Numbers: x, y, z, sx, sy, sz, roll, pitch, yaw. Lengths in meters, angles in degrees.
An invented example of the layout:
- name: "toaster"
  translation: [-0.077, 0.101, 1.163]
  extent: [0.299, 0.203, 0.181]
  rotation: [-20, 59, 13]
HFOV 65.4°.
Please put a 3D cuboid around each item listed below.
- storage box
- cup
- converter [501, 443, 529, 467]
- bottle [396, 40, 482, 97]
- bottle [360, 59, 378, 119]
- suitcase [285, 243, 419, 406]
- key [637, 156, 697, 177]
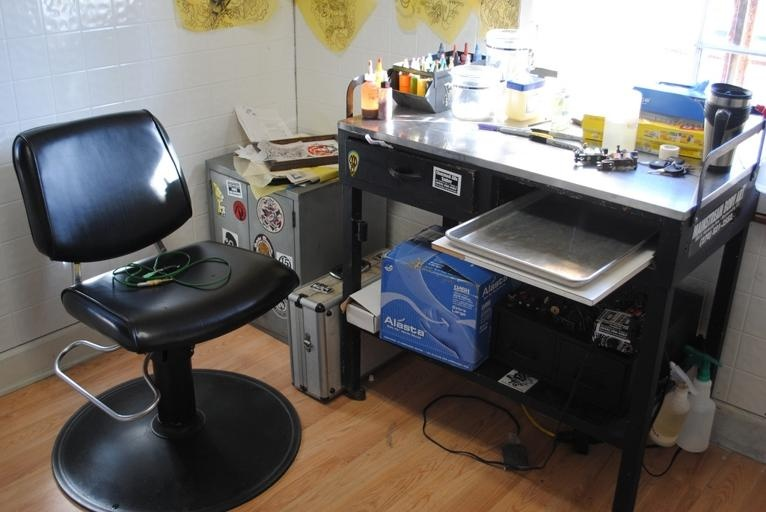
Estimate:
- name: "storage box"
  translation: [0.293, 0.163, 2.605]
  extent: [0.513, 0.497, 0.445]
  rotation: [19, 21, 23]
- name: "cup"
  translation: [1.189, -0.475, 2.080]
  extent: [0.139, 0.224, 0.209]
  rotation: [13, 29, 26]
- name: "converter"
  translation: [0.552, 0.829, 2.482]
  extent: [0.081, 0.018, 0.077]
  rotation: [2, 39, 5]
- name: "bottle"
  translation: [0.242, -0.815, 2.589]
  extent: [0.379, 0.185, 0.231]
  rotation: [-21, 33, -36]
- name: "bottle"
  translation: [-0.054, -0.685, 2.471]
  extent: [0.071, 0.206, 0.136]
  rotation: [-1, 26, 0]
- name: "suitcase"
  translation: [-0.137, 0.336, 2.674]
  extent: [0.209, 0.510, 0.609]
  rotation: [24, 36, 37]
- name: "key"
  translation: [0.981, -0.307, 2.060]
  extent: [0.116, 0.029, 0.098]
  rotation: [-7, 24, -6]
